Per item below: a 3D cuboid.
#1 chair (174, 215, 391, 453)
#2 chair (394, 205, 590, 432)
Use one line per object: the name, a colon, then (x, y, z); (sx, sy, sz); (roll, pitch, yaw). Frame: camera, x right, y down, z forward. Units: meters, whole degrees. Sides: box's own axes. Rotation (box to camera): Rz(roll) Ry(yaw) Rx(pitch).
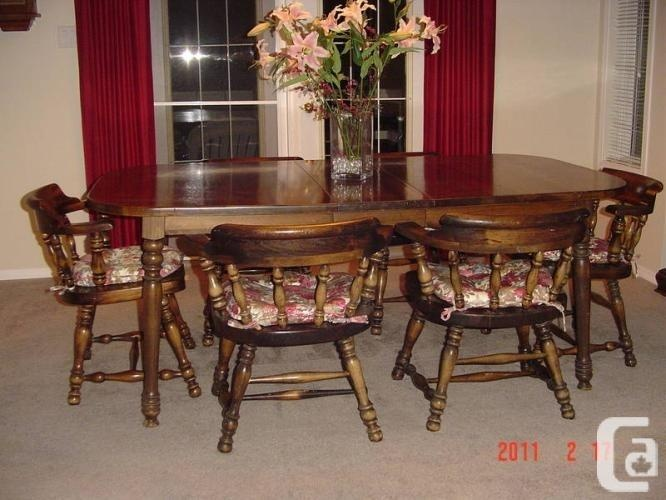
chair: (-0.238, 0.326, 2.308); (0.897, 0.728, 0.687); (-3, -7, -14)
chair: (0.677, 0.242, 2.522); (0.783, 0.937, 0.578); (-5, 20, -5)
